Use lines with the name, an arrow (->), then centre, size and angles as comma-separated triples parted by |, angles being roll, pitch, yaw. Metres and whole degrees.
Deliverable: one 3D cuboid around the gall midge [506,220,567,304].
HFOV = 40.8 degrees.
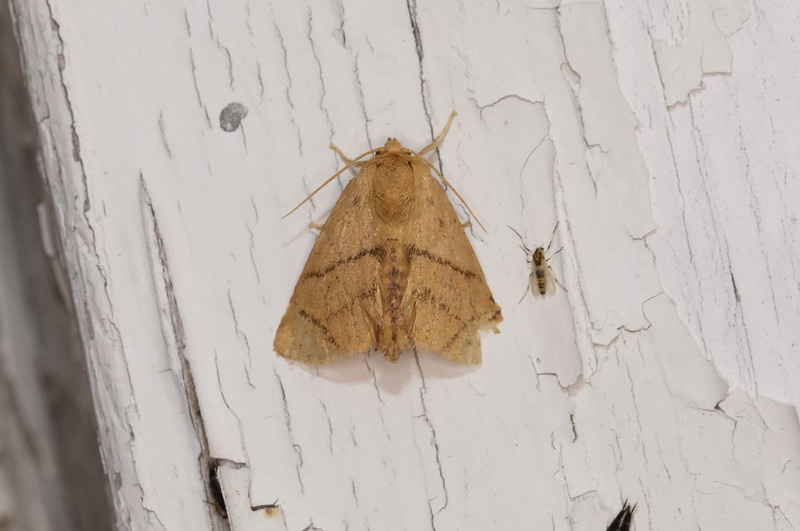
gall midge -> 0.596, -0.020, 4.558 | 0.188, 0.338, 0.092 | -1, 4, 5
